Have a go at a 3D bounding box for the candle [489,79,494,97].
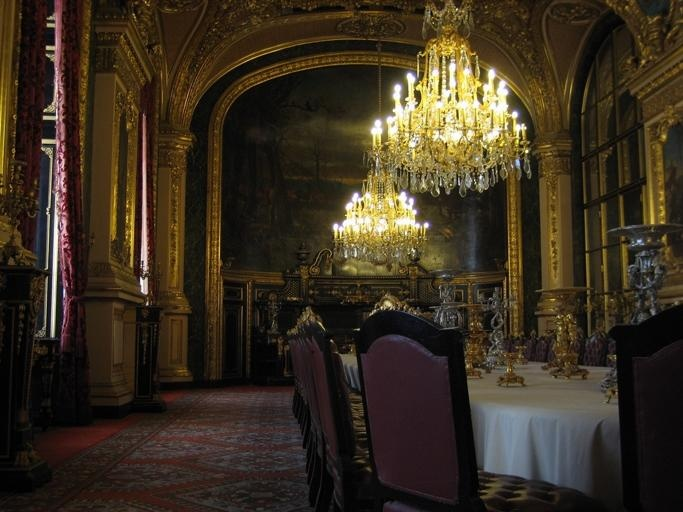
[{"bbox_3d":[1.558,-1.732,6.924,0.044,0.179,0.129,-1,-8,5],"label":"candle"}]
